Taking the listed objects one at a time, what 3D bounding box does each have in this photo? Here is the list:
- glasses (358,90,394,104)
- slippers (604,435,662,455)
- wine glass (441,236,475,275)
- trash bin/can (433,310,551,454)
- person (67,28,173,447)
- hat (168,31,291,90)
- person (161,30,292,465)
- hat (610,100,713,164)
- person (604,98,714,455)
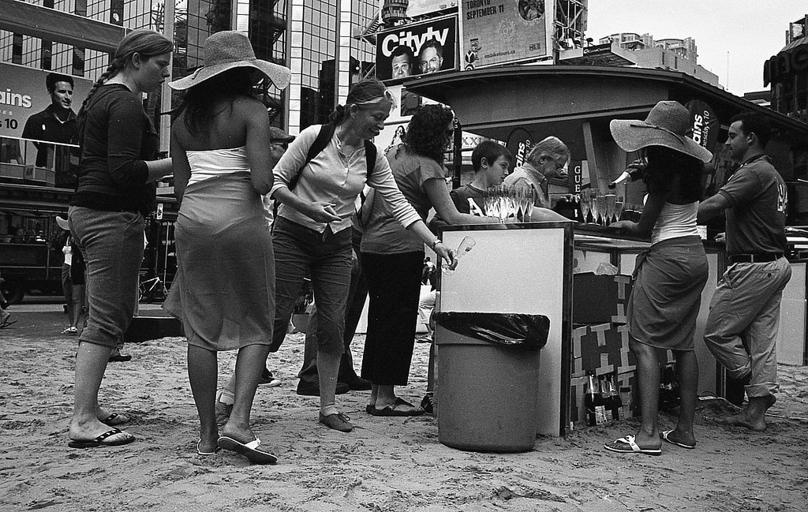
[{"bbox_3d":[-0.233,-1.364,6.699,0.209,0.100,0.165,-11,14,-6],"label":"glasses"},{"bbox_3d":[1.955,1.632,6.584,0.462,0.153,0.188,2,-8,6],"label":"slippers"},{"bbox_3d":[0.494,0.004,6.909,0.113,0.118,0.320,-9,17,44],"label":"wine glass"},{"bbox_3d":[0.759,1.066,6.773,1.030,1.199,1.120,-4,-9,38],"label":"trash bin/can"},{"bbox_3d":[-2.363,-0.182,6.702,1.004,3.435,0.959,2,7,-16],"label":"person"},{"bbox_3d":[-1.386,-1.568,6.187,0.881,0.462,1.082,8,18,35],"label":"hat"},{"bbox_3d":[-1.388,-0.085,5.925,0.757,3.289,0.615,0,5,-19],"label":"person"},{"bbox_3d":[2.280,-1.140,6.943,0.686,0.325,0.644,17,18,19],"label":"hat"},{"bbox_3d":[2.287,0.158,6.786,0.842,3.044,0.711,2,4,4],"label":"person"}]
